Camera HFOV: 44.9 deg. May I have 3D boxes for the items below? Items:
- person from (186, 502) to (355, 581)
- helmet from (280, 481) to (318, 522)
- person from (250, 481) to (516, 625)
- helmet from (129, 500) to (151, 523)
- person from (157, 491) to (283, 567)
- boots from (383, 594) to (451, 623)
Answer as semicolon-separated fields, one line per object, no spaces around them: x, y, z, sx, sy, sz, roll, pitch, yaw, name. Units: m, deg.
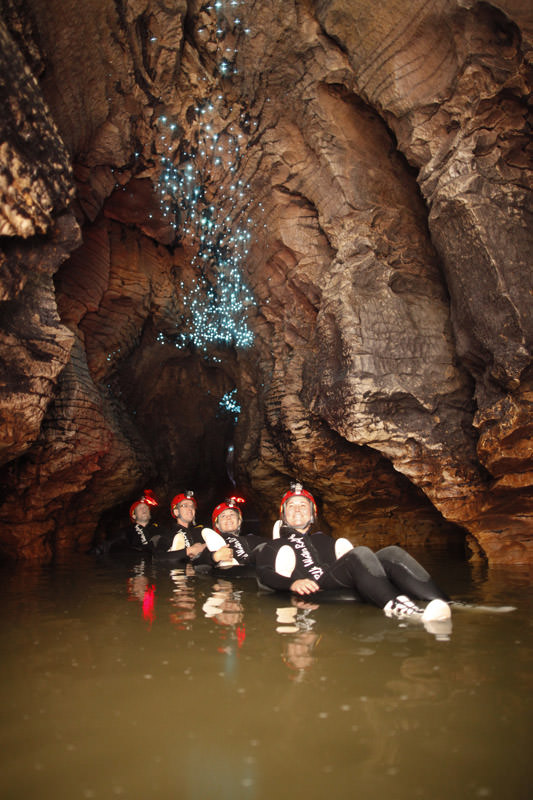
0.177;1.168;4.953;0.866;0.580;1.243;1;-8;-37;person
0.265;0.817;5.275;0.305;0.205;0.405;1;-13;2;helmet
0.646;1.012;4.522;1.080;0.936;1.705;7;-15;-34;person
-1.885;1.648;9.578;0.283;0.352;0.357;0;33;-15;helmet
-0.543;1.412;7.060;0.899;0.697;1.424;7;-20;-21;person
0.862;1.228;3.765;0.174;0.116;0.336;10;-22;-39;boots
